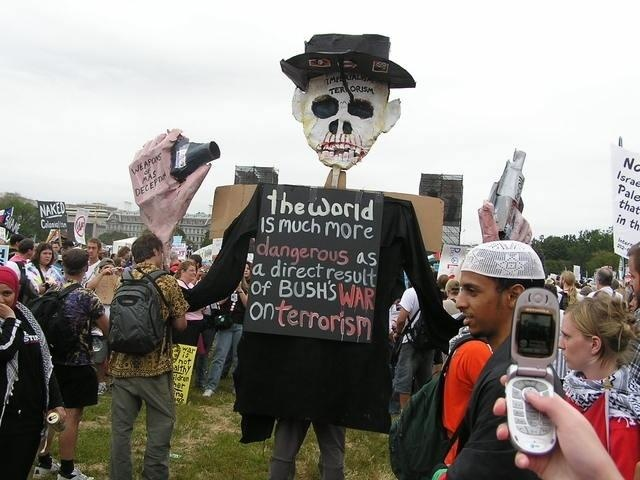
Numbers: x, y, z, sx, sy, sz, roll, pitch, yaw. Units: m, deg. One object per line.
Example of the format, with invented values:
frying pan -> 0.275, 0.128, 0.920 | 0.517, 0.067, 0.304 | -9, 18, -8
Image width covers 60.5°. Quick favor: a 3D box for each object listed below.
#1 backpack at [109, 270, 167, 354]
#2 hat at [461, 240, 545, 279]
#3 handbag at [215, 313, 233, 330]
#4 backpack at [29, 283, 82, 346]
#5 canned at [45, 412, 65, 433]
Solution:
backpack -> -1.660, 0.635, 4.960 | 0.462, 0.763, 0.434 | 0, -7, 8
hat -> 0.956, 0.104, 2.864 | 0.247, 0.142, 0.258 | 8, -6, 11
handbag -> -1.624, 1.347, 9.120 | 0.304, 0.308, 0.204 | 1, 2, 12
backpack -> -2.544, 0.727, 5.209 | 0.379, 0.567, 0.513 | -1, -5, 41
canned -> -2.077, 1.412, 4.283 | 0.112, 0.143, 0.180 | 3, -2, -8
